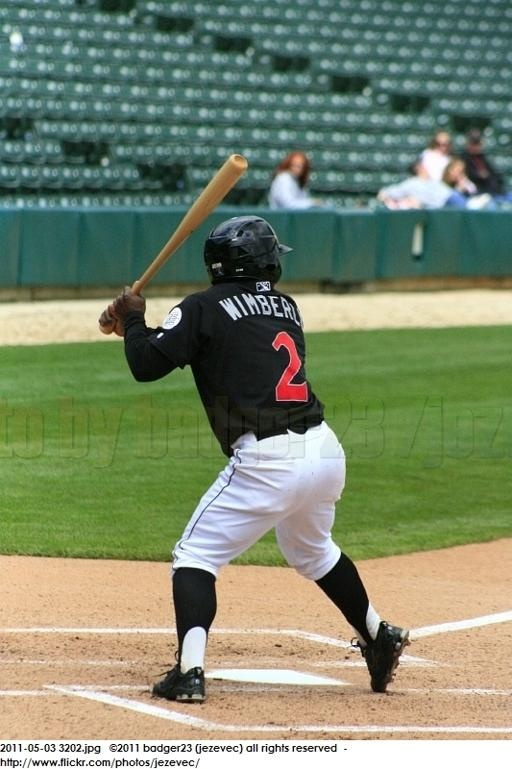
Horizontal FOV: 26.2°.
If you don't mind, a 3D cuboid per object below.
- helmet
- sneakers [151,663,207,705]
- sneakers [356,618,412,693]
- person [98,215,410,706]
[{"bbox_3d":[-0.012,-0.393,3.238,0.263,0.178,0.171,-3,11,-18],"label":"helmet"},{"bbox_3d":[-0.206,0.813,2.959,0.072,0.070,0.176,8,-10,-32],"label":"sneakers"},{"bbox_3d":[0.386,0.790,3.228,0.148,0.234,0.084,10,29,10],"label":"sneakers"},{"bbox_3d":[-0.005,0.193,3.214,0.752,1.361,0.636,-1,12,-28],"label":"person"}]
